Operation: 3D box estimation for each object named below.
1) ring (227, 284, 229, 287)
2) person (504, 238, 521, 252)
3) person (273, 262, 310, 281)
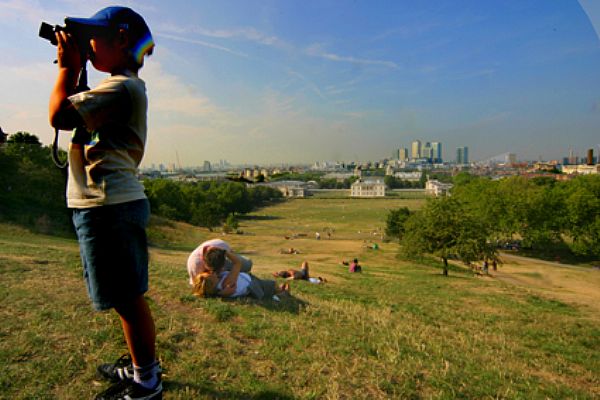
[{"bbox_3d":[-1.768,2.111,10.109,0.057,0.054,0.026,-1,4,-12],"label":"ring"},{"bbox_3d":[25.533,5.452,49.750,1.486,0.675,2.010,0,6,35],"label":"person"},{"bbox_3d":[-0.526,2.912,17.089,1.958,0.834,0.936,6,-9,-28],"label":"person"}]
